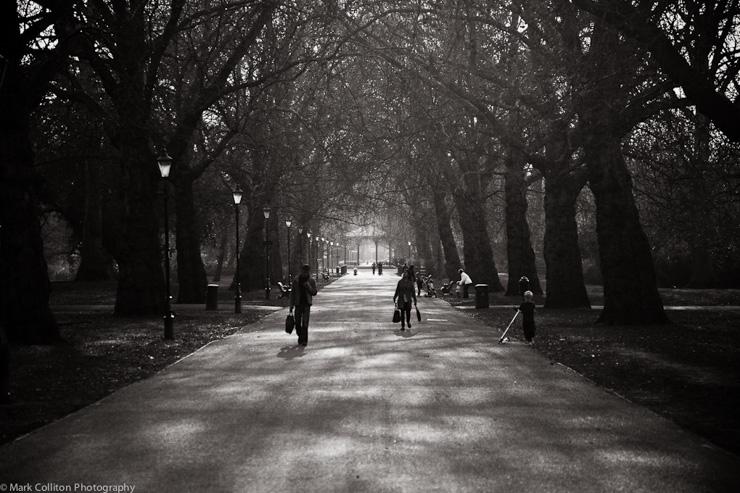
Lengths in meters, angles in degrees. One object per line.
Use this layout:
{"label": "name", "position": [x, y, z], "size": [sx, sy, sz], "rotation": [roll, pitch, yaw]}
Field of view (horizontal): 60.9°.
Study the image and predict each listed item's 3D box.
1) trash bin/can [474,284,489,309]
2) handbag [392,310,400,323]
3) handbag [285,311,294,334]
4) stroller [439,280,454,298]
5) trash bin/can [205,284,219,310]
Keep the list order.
{"label": "trash bin/can", "position": [5.797, 2.650, 32.671], "size": [0.619, 1.220, 0.472], "rotation": [-1, 1, -4]}
{"label": "handbag", "position": [1.020, 2.667, 23.970], "size": [0.268, 0.497, 0.539], "rotation": [-1, 1, -1]}
{"label": "handbag", "position": [-2.551, 2.425, 19.990], "size": [0.280, 0.725, 0.743], "rotation": [-1, 1, -8]}
{"label": "stroller", "position": [5.614, 3.186, 45.744], "size": [0.987, 1.462, 0.983], "rotation": [1, -2, 4]}
{"label": "trash bin/can", "position": [-8.162, 2.656, 32.351], "size": [0.591, 1.252, 0.436], "rotation": [0, 1, 10]}
